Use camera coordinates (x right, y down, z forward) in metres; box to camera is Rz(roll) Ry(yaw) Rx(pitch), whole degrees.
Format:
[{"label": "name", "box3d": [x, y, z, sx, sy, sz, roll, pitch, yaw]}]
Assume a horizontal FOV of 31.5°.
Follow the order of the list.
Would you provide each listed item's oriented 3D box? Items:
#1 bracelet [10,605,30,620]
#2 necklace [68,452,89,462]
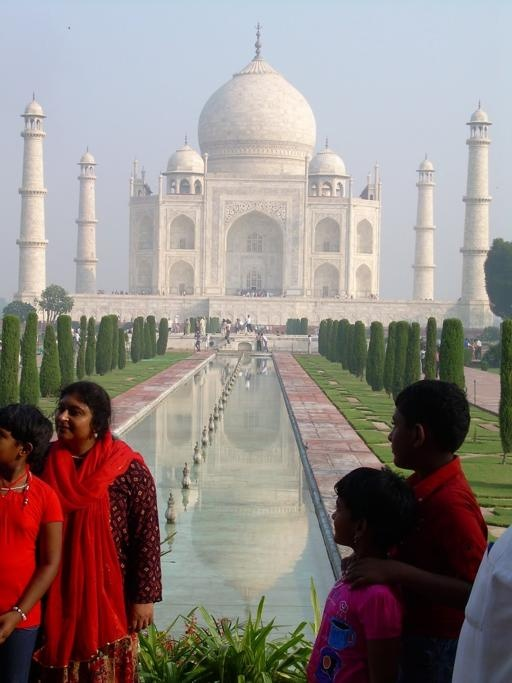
[{"label": "bracelet", "box3d": [-0.445, 0.509, 1.700, 0.027, 0.033, 0.018, -1, 2, -17]}, {"label": "necklace", "box3d": [-0.366, 0.239, 1.867, 0.022, 0.008, 0.032, 5, -37, -5]}]
